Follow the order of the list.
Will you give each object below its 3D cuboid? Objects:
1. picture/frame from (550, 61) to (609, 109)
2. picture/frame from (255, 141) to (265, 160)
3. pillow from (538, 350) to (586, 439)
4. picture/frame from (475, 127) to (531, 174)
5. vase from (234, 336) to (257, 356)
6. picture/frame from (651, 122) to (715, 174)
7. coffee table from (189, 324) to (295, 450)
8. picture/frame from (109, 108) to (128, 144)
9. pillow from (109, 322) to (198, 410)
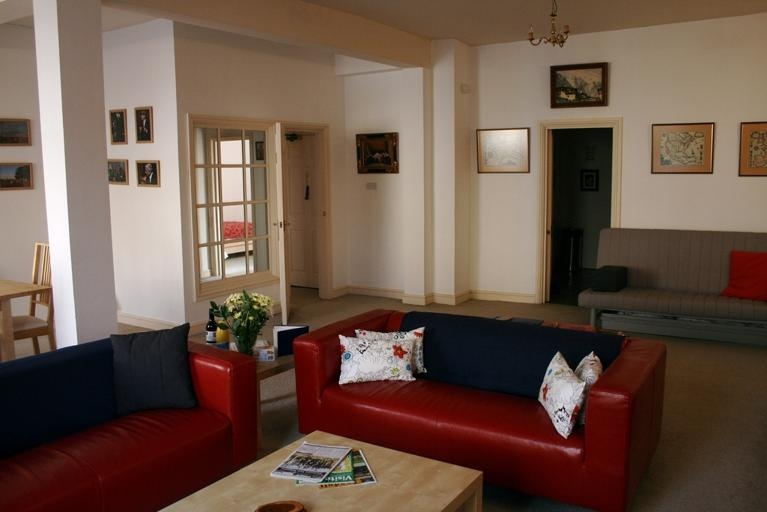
[{"bbox_3d":[2.746,-2.401,7.576,0.665,0.514,0.053,3,6,26],"label":"picture/frame"},{"bbox_3d":[-1.690,-1.437,7.471,0.044,0.274,0.166,6,11,39],"label":"picture/frame"},{"bbox_3d":[1.237,0.975,3.758,0.174,0.378,0.506,-1,0,2],"label":"pillow"},{"bbox_3d":[1.794,-1.578,8.049,0.678,0.586,0.045,3,11,26],"label":"picture/frame"},{"bbox_3d":[-1.182,0.770,4.663,0.168,0.191,0.172,0,-3,0],"label":"vase"},{"bbox_3d":[3.961,-1.435,7.157,0.707,0.687,0.050,0,5,19],"label":"picture/frame"},{"bbox_3d":[-1.056,1.322,5.077,1.244,0.823,0.682,7,13,29],"label":"coffee table"},{"bbox_3d":[-3.395,-1.682,6.996,0.458,0.538,0.038,2,2,30],"label":"picture/frame"},{"bbox_3d":[-1.713,0.843,4.045,0.482,0.514,0.185,-10,-20,-9],"label":"pillow"}]
